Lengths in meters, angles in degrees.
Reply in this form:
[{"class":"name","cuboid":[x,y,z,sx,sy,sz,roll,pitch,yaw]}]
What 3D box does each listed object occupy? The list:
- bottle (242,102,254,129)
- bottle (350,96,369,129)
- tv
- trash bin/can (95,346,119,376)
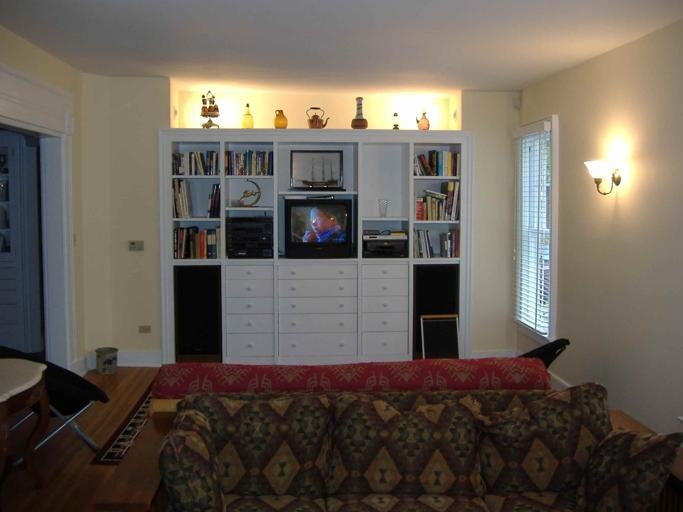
[{"class":"bottle","cuboid":[-1.036,-1.537,6.138,0.129,0.293,0.463,-1,11,-10]},{"class":"bottle","cuboid":[0.192,-1.583,6.194,0.162,0.360,0.440,1,10,2]},{"class":"tv","cuboid":[-0.214,-0.293,6.266,0.935,0.916,0.542,0,-1,1]},{"class":"trash bin/can","cuboid":[-2.457,1.087,5.831,0.238,0.253,0.208,-3,9,-32]}]
